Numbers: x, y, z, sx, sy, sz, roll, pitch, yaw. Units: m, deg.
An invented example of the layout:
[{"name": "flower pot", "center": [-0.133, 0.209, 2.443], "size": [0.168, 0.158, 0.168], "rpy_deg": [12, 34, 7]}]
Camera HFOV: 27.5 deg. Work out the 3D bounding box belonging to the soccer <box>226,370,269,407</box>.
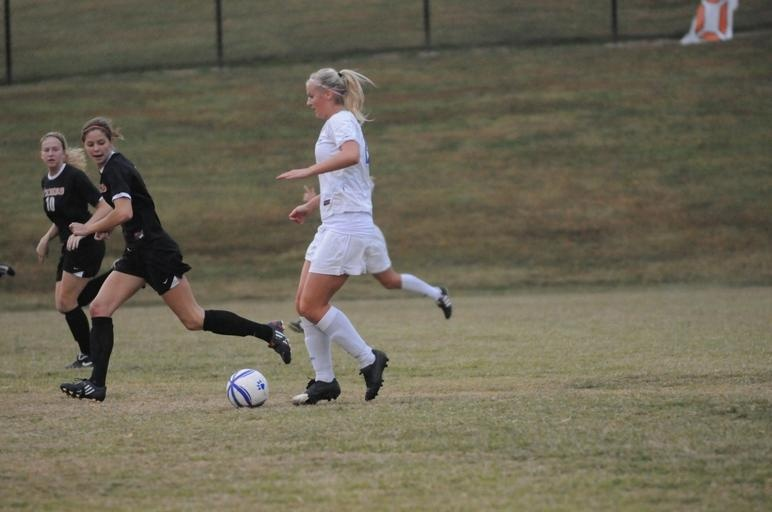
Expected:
[{"name": "soccer", "center": [-2.341, 2.112, 25.968], "size": [0.686, 0.589, 0.651], "rpy_deg": [-18, -31, 38]}]
